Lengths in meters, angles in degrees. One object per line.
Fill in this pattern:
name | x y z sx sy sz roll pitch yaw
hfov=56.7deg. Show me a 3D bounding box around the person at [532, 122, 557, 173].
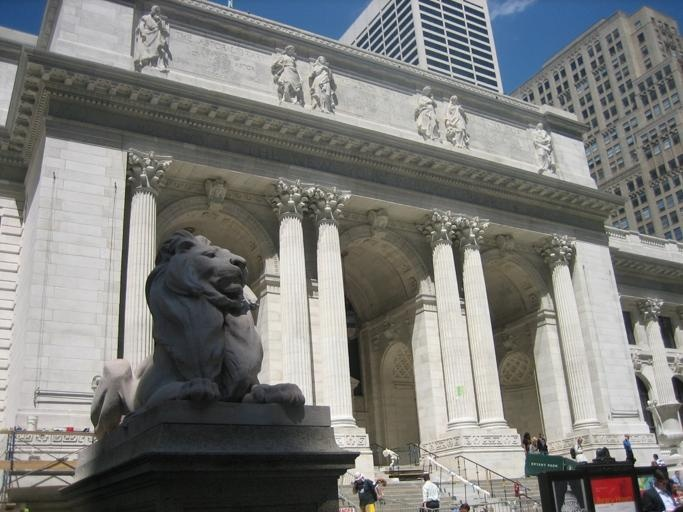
person | 12.418 -6.477 38.731 1.513 3.592 0.496 15 -25 -36
